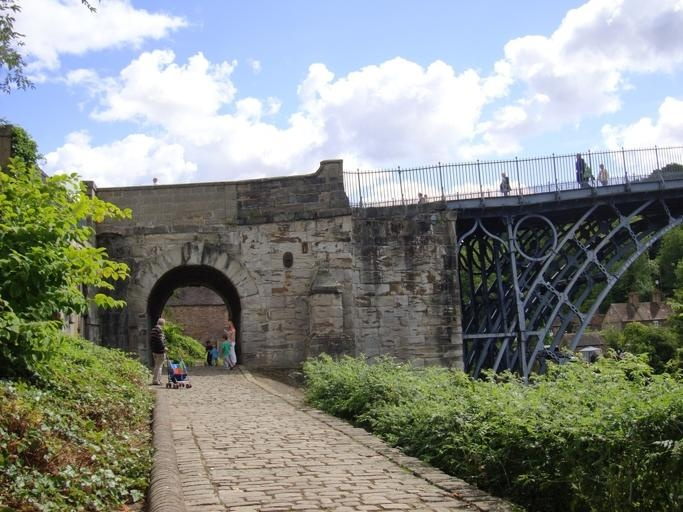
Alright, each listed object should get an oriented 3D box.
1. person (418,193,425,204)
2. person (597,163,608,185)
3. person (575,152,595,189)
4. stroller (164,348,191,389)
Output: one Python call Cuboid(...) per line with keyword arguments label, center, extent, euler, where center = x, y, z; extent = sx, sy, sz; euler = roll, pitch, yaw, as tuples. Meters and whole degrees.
Cuboid(label="person", center=(2.351, -1.735, 19.893), extent=(0.215, 0.351, 0.814), euler=(-1, -7, 7))
Cuboid(label="person", center=(8.148, -2.518, 21.257), extent=(0.267, 0.753, 0.636), euler=(-2, -7, 20))
Cuboid(label="person", center=(7.438, -2.678, 20.822), extent=(0.481, 1.125, 1.087), euler=(-2, -7, 20))
Cuboid(label="stroller", center=(-3.482, 2.359, 14.553), extent=(0.638, 0.756, 0.523), euler=(3, -5, 17))
